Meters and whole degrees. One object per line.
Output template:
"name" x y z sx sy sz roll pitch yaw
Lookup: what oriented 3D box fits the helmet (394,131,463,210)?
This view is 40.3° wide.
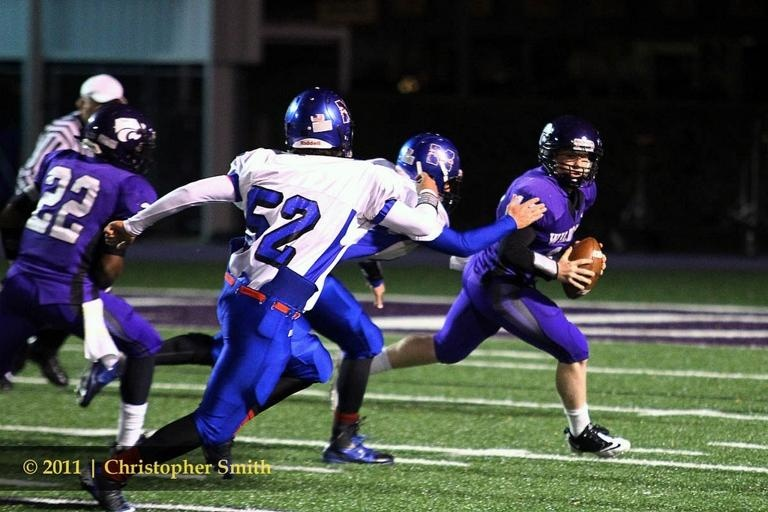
"helmet" 0.335 -0.640 7.557 0.591 0.479 0.427 12 1 -28

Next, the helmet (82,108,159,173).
"helmet" -1.786 -0.822 7.096 0.559 0.417 0.396 10 2 -43

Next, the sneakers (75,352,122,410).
"sneakers" -1.940 0.809 7.022 0.138 0.134 0.380 22 25 20

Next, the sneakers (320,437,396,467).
"sneakers" -0.174 1.378 7.310 0.515 0.156 0.181 0 -7 0

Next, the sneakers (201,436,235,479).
"sneakers" -1.018 1.271 6.614 0.276 0.228 0.196 -2 8 -29

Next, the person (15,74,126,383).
"person" -2.509 -0.250 8.160 0.651 2.304 0.994 9 6 -17

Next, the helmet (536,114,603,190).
"helmet" 1.347 -0.774 7.622 0.437 0.437 0.493 -1 15 -30

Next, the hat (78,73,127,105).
"hat" -2.294 -1.345 8.572 0.291 0.172 0.359 -2 -9 -14

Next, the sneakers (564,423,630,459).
"sneakers" 1.500 1.284 7.308 0.462 0.193 0.164 -7 3 37

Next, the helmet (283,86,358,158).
"helmet" -0.445 -0.869 6.971 0.504 0.452 0.576 -1 1 3
